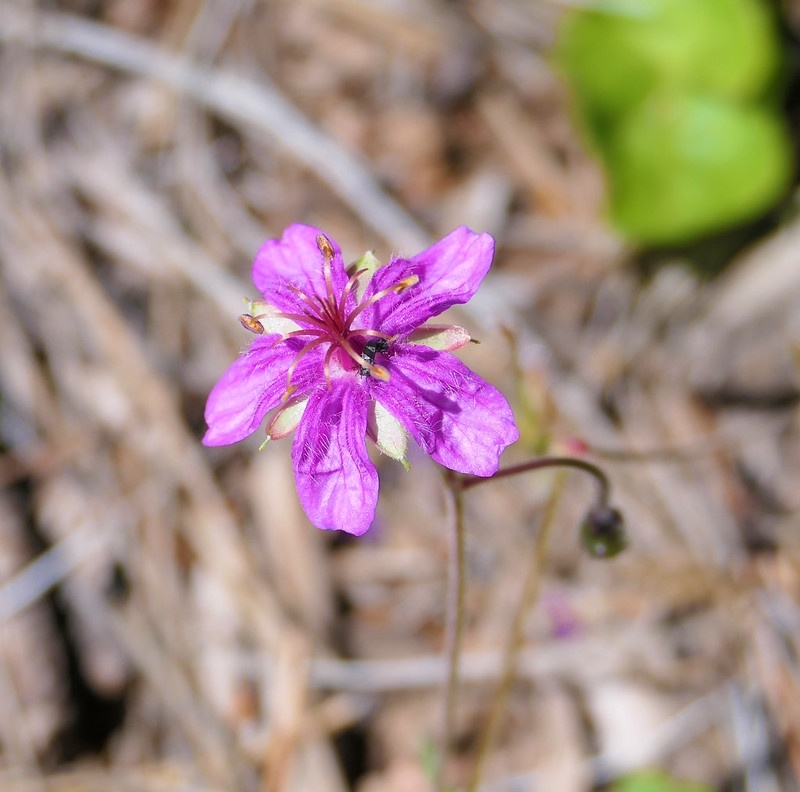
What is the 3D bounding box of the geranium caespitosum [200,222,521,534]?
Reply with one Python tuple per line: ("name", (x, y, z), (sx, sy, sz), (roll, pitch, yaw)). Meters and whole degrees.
("geranium caespitosum", (-0.112, -0.066, 3.404), (0.963, 0.388, 0.975), (10, 79, -1))
